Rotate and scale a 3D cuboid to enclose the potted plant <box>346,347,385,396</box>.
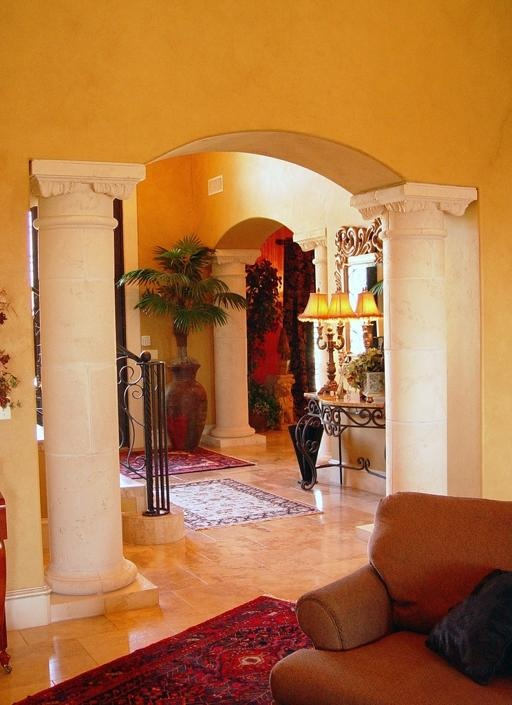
[{"bbox_3d":[1.023,0.147,5.800,0.407,0.398,0.413,-6,15,-14],"label":"potted plant"}]

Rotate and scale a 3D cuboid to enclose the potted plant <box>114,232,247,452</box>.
[{"bbox_3d":[-0.989,-0.045,8.272,1.903,2.712,1.903,3,-2,11],"label":"potted plant"}]

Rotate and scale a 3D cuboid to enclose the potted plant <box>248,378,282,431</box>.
[{"bbox_3d":[0.145,0.817,9.831,0.390,0.552,0.674,-1,-1,23],"label":"potted plant"}]

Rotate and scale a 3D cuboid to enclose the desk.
[{"bbox_3d":[0.841,0.875,6.134,0.516,0.627,1.097,1,-1,-24],"label":"desk"}]
